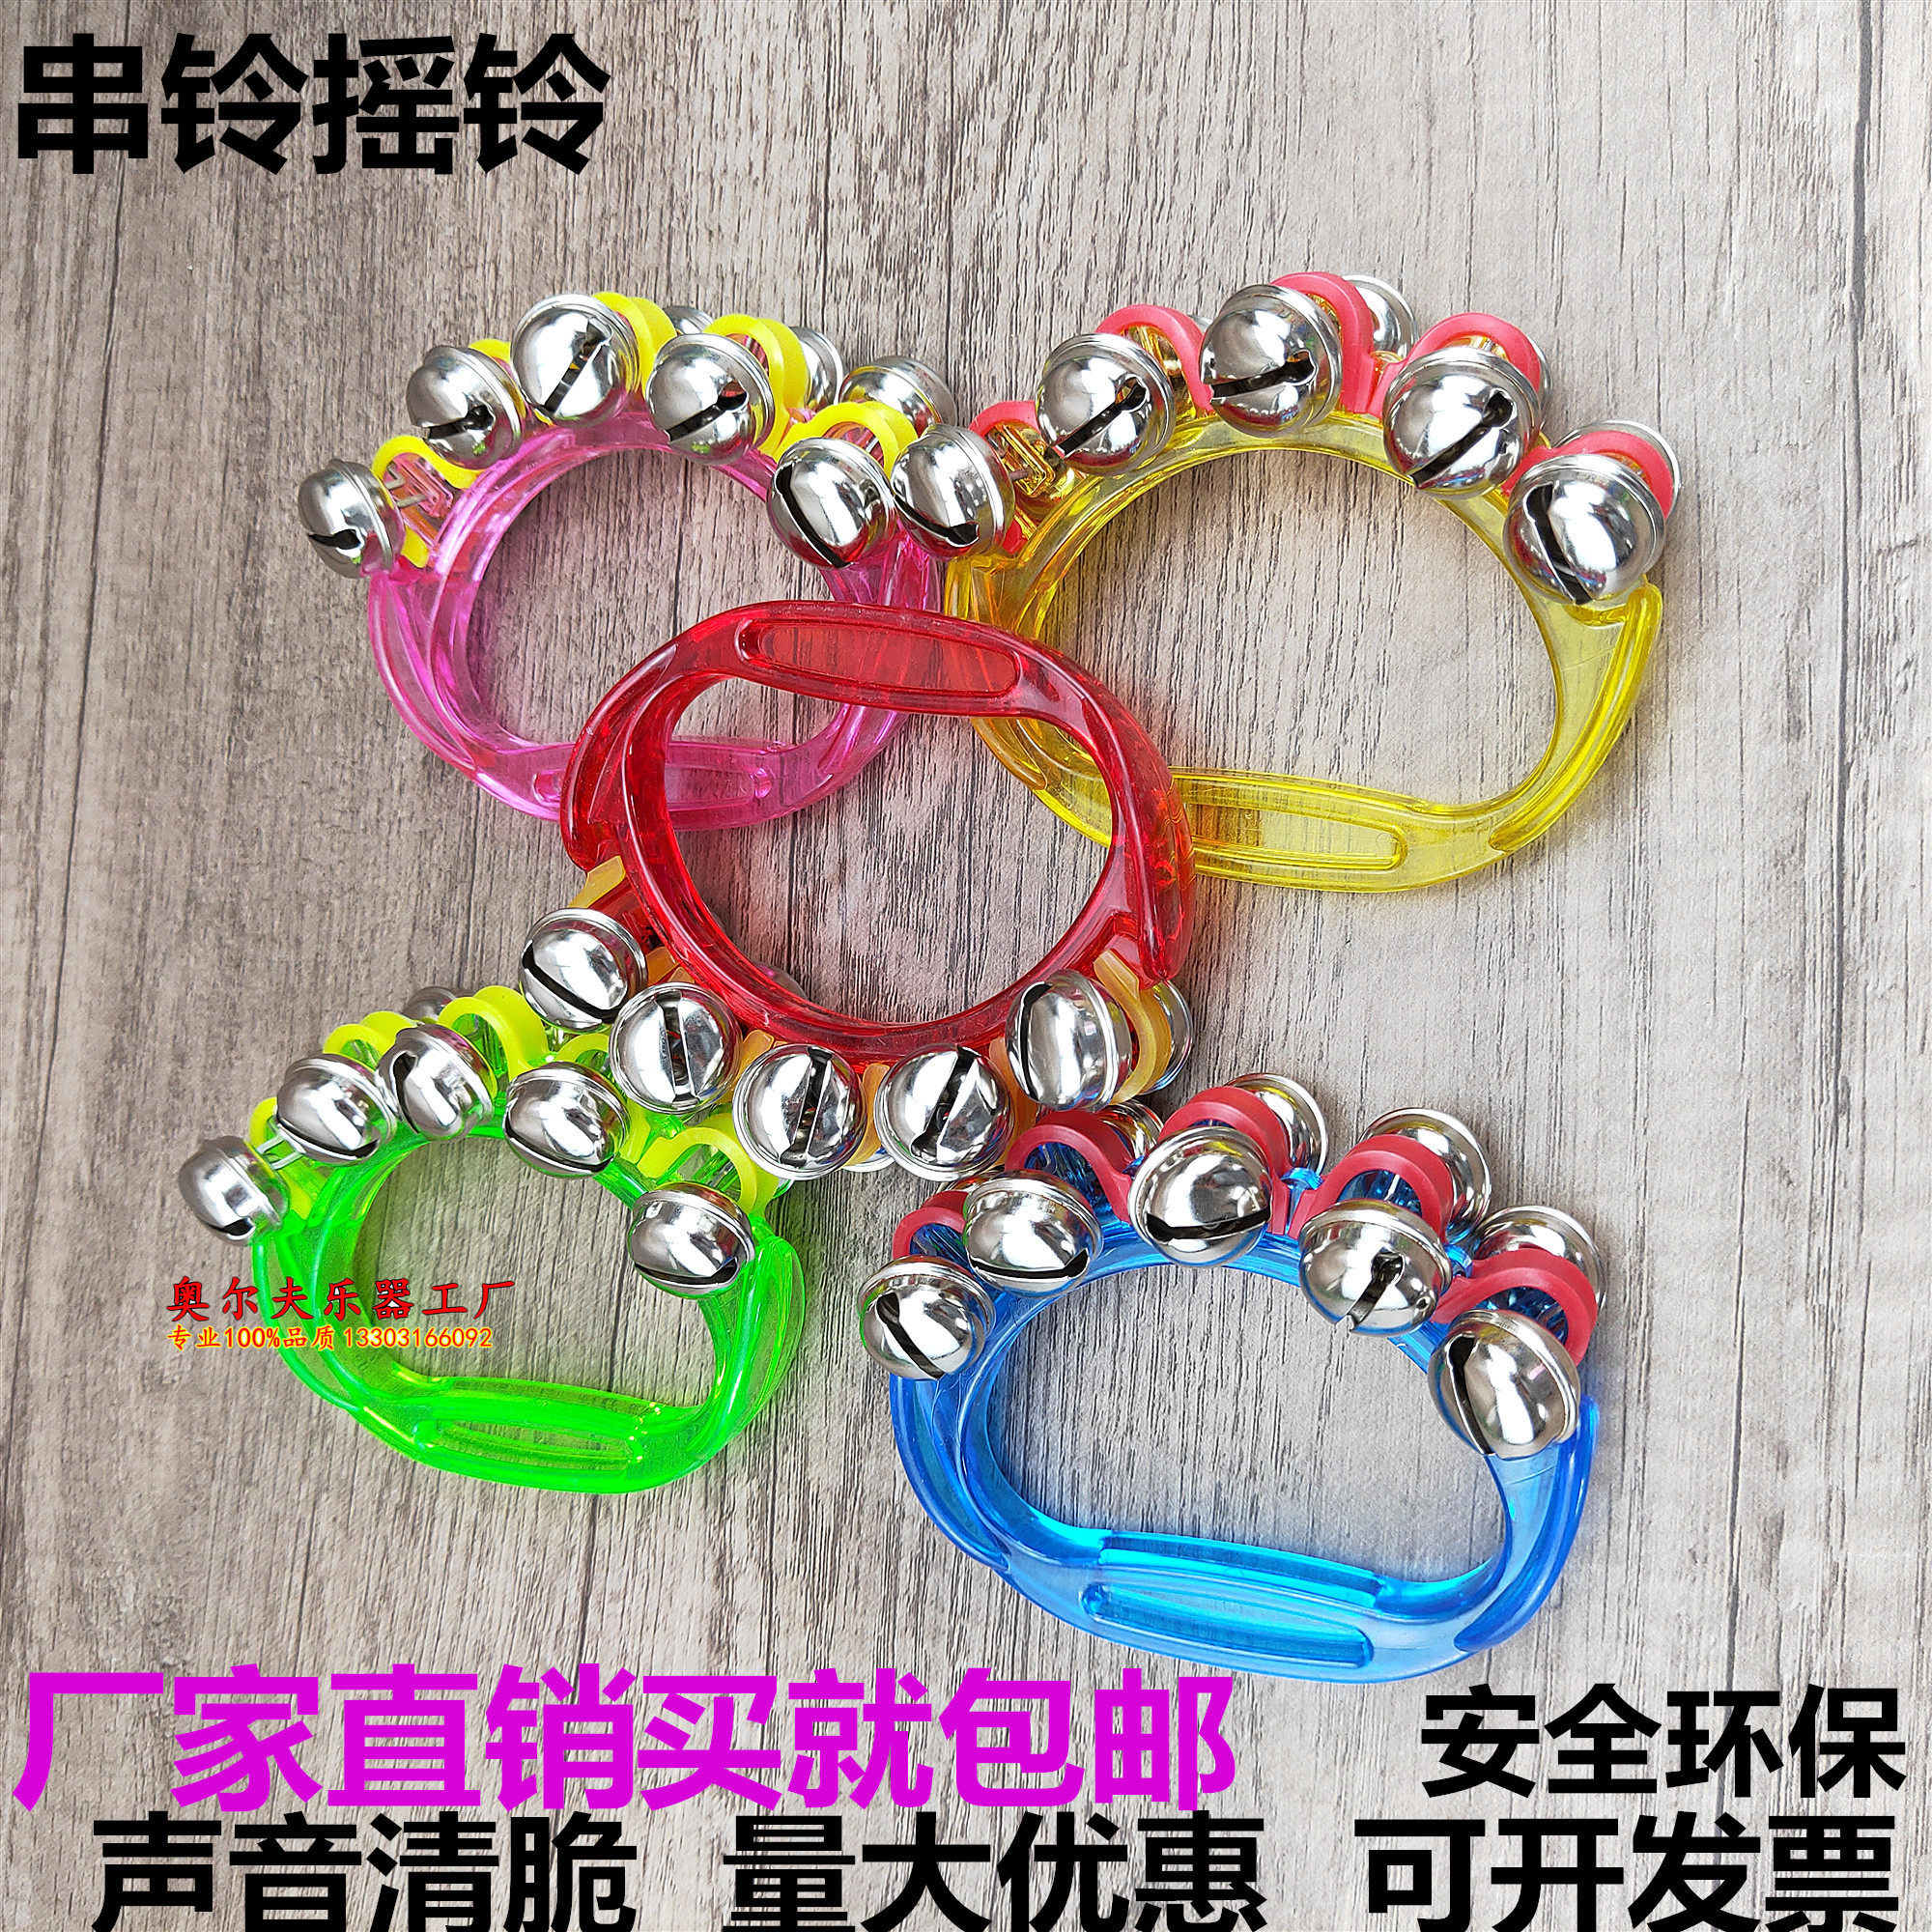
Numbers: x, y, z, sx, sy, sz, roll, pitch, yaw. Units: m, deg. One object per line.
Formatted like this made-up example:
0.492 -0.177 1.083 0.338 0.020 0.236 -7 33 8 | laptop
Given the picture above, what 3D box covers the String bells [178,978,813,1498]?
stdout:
-0.213 0.127 1.333 0.267 0.228 0.069 24 23 11 | String bells
